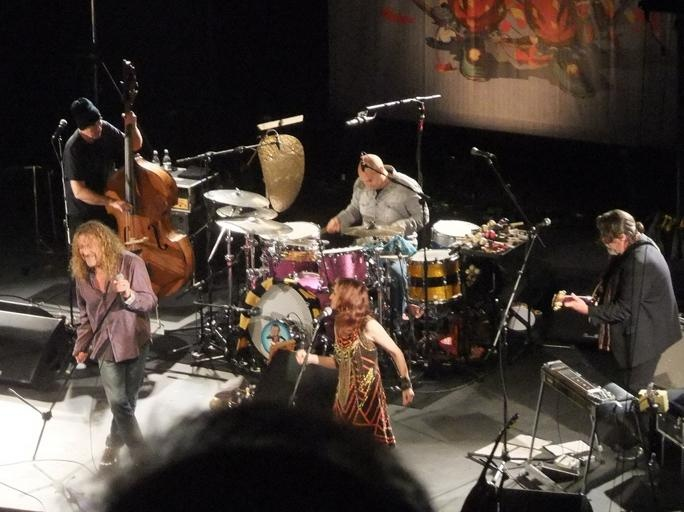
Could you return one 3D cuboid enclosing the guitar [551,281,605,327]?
[{"bbox_3d":[2.315,0.495,6.259,0.497,0.166,0.672,-17,16,-39],"label":"guitar"}]

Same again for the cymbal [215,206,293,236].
[{"bbox_3d":[-0.824,-0.303,6.033,0.440,0.111,0.442,8,21,-13],"label":"cymbal"}]

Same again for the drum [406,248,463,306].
[{"bbox_3d":[0.863,0.219,6.457,0.664,0.529,0.670,0,-6,0],"label":"drum"}]

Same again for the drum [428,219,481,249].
[{"bbox_3d":[1.187,-0.252,6.874,0.370,0.238,0.373,0,21,0],"label":"drum"}]

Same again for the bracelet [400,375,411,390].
[{"bbox_3d":[0.466,0.940,4.717,0.085,0.097,0.094,-2,5,16],"label":"bracelet"}]

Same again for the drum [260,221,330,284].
[{"bbox_3d":[-0.493,-0.089,6.380,0.591,0.600,0.596,-5,21,-7],"label":"drum"}]

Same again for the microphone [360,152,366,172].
[{"bbox_3d":[0.207,-0.950,6.409,0.063,0.191,0.136,4,1,8],"label":"microphone"}]

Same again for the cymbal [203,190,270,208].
[{"bbox_3d":[-1.069,-0.582,6.335,0.335,0.079,0.336,5,24,-20],"label":"cymbal"}]

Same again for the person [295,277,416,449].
[{"bbox_3d":[0.190,0.758,4.528,0.559,1.176,0.266,2,4,-1],"label":"person"}]

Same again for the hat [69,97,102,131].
[{"bbox_3d":[-2.514,-1.454,6.312,0.302,0.288,0.268,-30,21,-27],"label":"hat"}]

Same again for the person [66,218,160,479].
[{"bbox_3d":[-1.678,0.659,4.541,0.603,1.805,0.529,2,4,-3],"label":"person"}]

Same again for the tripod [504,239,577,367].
[{"bbox_3d":[2.049,0.433,6.908,0.949,1.144,0.813,-8,12,26],"label":"tripod"}]

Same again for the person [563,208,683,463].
[{"bbox_3d":[2.338,0.586,5.168,0.978,1.903,0.918,0,4,-26],"label":"person"}]

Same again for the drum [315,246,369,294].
[{"bbox_3d":[0.009,0.129,6.221,0.411,0.304,0.409,-3,7,0],"label":"drum"}]
